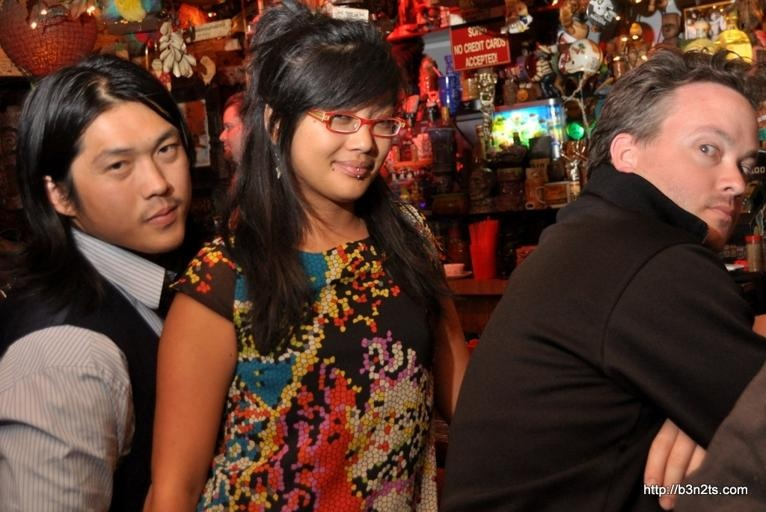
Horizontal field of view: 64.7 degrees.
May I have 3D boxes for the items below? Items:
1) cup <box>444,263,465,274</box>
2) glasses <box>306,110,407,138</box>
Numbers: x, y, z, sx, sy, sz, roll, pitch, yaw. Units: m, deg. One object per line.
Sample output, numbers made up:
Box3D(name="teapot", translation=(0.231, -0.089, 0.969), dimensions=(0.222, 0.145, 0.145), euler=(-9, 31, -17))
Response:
Box3D(name="cup", translation=(0.399, 0.058, 3.410), dimensions=(0.088, 0.045, 0.085), euler=(1, 4, 0))
Box3D(name="glasses", translation=(-0.073, -0.384, 1.755), dimensions=(0.271, 0.082, 0.087), euler=(-7, 11, -25))
